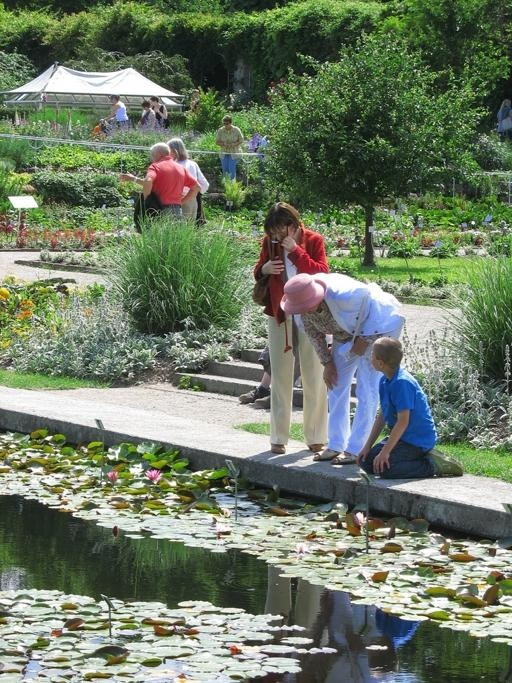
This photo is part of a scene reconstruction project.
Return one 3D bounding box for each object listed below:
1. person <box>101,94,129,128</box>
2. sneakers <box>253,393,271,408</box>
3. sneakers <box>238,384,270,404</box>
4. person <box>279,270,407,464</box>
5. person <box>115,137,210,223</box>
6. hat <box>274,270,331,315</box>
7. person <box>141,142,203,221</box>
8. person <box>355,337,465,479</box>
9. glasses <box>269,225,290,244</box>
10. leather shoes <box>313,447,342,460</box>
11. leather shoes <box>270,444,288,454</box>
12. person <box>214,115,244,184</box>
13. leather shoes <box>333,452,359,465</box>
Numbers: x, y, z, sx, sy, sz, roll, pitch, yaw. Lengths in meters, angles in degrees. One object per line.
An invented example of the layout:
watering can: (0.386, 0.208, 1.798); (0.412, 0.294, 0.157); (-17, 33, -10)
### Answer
person: (-3.019, -4.885, 31.256); (0.548, 0.726, 1.831); (0, 4, -5)
sneakers: (0.025, 0.432, 10.454); (0.132, 0.125, 0.080); (8, 19, -4)
sneakers: (-0.009, 0.383, 10.578); (0.271, 0.116, 0.098); (-4, 9, 8)
person: (0.452, 0.138, 8.305); (0.478, 1.003, 0.852); (-1, 2, 37)
person: (-0.911, -1.210, 13.563); (0.644, 1.132, 0.386); (0, 9, -35)
hat: (0.261, -0.267, 8.083); (0.271, 0.215, 0.234); (-2, 4, -26)
person: (-0.823, -1.501, 13.499); (0.422, 0.695, 0.941); (0, 4, 7)
person: (0.825, 0.352, 7.995); (0.509, 0.769, 0.375); (-2, 4, -19)
glasses: (0.127, -0.607, 8.319); (0.096, 0.095, 0.158); (3, -6, 5)
leather shoes: (0.391, 0.641, 8.378); (0.062, 0.046, 0.163); (-3, -5, 41)
leather shoes: (0.123, 0.625, 8.581); (0.054, 0.061, 0.143); (0, -5, -3)
person: (-0.483, -3.292, 25.150); (0.446, 1.062, 1.429); (0, 4, -2)
leather shoes: (0.493, 0.662, 8.261); (0.160, 0.061, 0.057); (0, 0, -18)
